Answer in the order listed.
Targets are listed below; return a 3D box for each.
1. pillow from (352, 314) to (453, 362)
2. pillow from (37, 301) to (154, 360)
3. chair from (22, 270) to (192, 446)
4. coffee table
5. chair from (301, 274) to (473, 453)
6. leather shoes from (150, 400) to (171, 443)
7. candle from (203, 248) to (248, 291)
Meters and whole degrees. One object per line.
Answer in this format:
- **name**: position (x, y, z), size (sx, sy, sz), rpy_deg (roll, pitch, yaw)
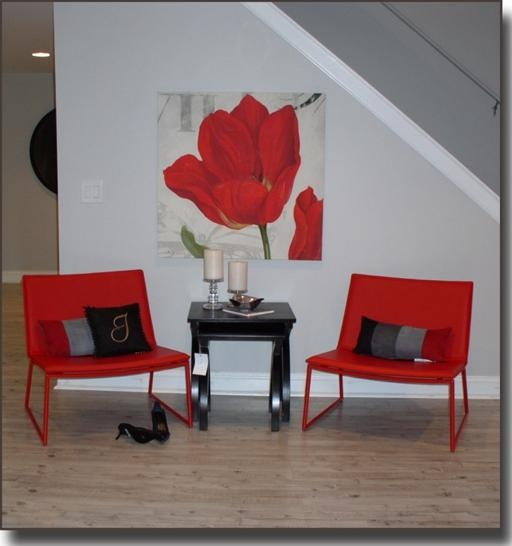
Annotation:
- **pillow**: position (0.787, 0.373, 3.239), size (0.403, 0.188, 0.200), rpy_deg (3, 41, 27)
- **pillow**: position (-0.879, 0.316, 3.274), size (0.580, 0.237, 0.291), rpy_deg (-3, 9, -23)
- **chair**: position (-0.865, 0.332, 3.418), size (0.801, 0.981, 0.898), rpy_deg (-2, 2, -26)
- **coffee table**: position (-0.088, 0.514, 3.406), size (0.584, 0.620, 0.600), rpy_deg (0, 9, -4)
- **chair**: position (0.768, 0.318, 3.375), size (0.926, 1.030, 0.824), rpy_deg (2, 3, 25)
- **leather shoes**: position (-0.501, 0.768, 3.081), size (0.066, 0.038, 0.217), rpy_deg (-10, 45, -17)
- **candle**: position (-0.169, -0.011, 3.410), size (0.281, 0.237, 0.158), rpy_deg (5, 3, 28)
